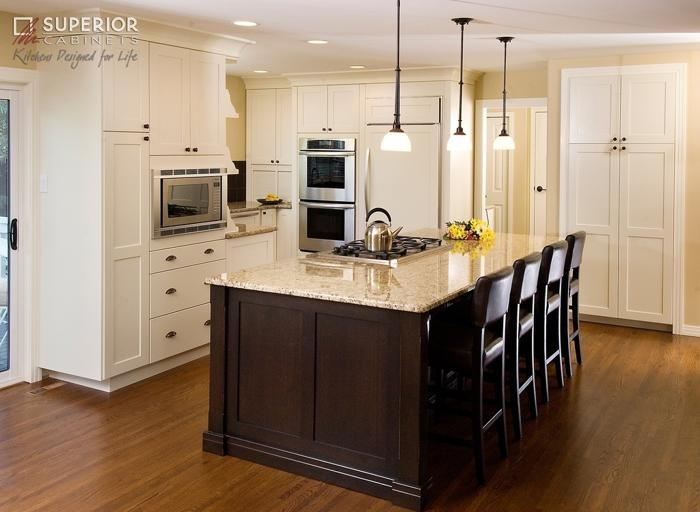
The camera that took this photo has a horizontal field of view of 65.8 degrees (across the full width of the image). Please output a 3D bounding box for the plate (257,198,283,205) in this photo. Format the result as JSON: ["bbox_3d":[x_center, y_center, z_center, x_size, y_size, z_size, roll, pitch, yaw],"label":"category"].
[{"bbox_3d":[-1.109,-0.766,7.585,0.336,0.075,0.277,-1,12,-6],"label":"plate"}]

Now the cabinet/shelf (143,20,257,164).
[{"bbox_3d":[-1.547,-1.414,4.920,0.423,1.022,1.189,-14,31,-38],"label":"cabinet/shelf"}]

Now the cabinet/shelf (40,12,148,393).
[{"bbox_3d":[-2.007,-0.365,4.172,0.845,2.560,0.644,0,12,0],"label":"cabinet/shelf"}]

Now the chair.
[{"bbox_3d":[1.052,0.712,3.625,0.491,0.787,1.519,3,8,30],"label":"chair"}]

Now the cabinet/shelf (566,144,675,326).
[{"bbox_3d":[2.912,-0.264,5.808,1.133,1.838,0.375,4,13,19],"label":"cabinet/shelf"}]

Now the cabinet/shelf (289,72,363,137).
[{"bbox_3d":[-0.199,-1.946,7.247,1.004,0.619,0.528,4,14,18],"label":"cabinet/shelf"}]
